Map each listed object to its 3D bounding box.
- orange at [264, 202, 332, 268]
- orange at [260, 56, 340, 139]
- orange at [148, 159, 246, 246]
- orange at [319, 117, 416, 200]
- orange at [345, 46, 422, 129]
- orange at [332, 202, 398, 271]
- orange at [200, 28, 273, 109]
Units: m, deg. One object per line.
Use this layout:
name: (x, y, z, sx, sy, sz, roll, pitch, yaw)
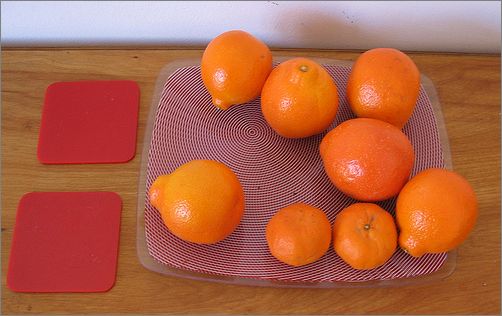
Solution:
orange: (0.090, 0.148, 0.838, 0.145, 0.142, 0.096, 3, 103, 16)
orange: (0.105, -0.121, 0.873, 0.147, 0.143, 0.145, 19, 53, 14)
orange: (-0.085, 0.090, 0.866, 0.172, 0.123, 0.132, 12, 71, 3)
orange: (0.212, 0.003, 0.855, 0.153, 0.121, 0.162, -44, 79, 0)
orange: (0.264, -0.140, 0.875, 0.140, 0.126, 0.140, -4, 99, -17)
orange: (0.205, 0.136, 0.780, 0.121, 0.063, 0.109, -3, 81, 2)
orange: (-0.016, -0.177, 0.898, 0.130, 0.130, 0.155, 21, 76, 8)
